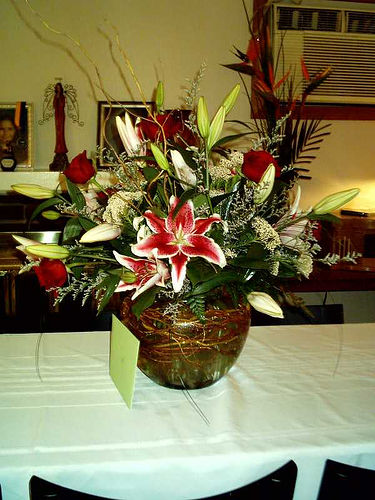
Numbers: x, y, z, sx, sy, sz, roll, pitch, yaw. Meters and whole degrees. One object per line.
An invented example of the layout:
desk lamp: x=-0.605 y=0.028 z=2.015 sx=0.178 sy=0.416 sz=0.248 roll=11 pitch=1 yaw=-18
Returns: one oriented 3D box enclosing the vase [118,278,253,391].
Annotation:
vase: x=-0.009 y=0.112 z=0.651 sx=0.206 sy=0.134 sz=0.194 roll=-1 pitch=4 yaw=-10
